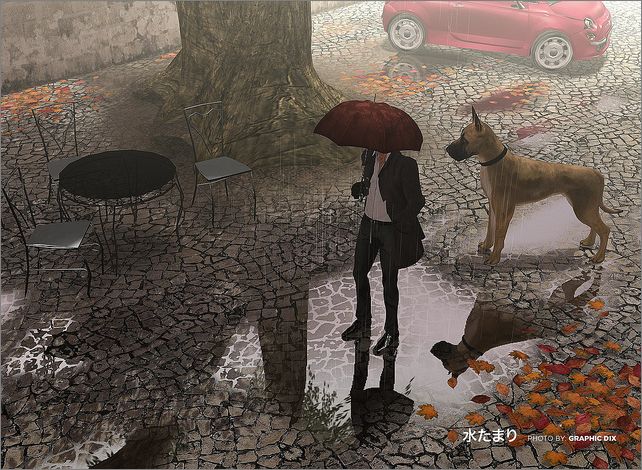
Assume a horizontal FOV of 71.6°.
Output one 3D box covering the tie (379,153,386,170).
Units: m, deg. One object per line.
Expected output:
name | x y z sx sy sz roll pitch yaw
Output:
tie | 0.560 -0.682 4.031 0.083 0.120 0.077 7 39 5

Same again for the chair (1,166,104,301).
chair | -3.475 0.022 5.806 1.263 1.719 0.974 0 46 -12

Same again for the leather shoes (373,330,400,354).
leather shoes | 0.676 1.137 4.597 0.376 0.138 0.127 -25 40 -39

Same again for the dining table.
dining table | -2.694 -0.442 6.512 1.847 1.189 1.686 4 46 -4
